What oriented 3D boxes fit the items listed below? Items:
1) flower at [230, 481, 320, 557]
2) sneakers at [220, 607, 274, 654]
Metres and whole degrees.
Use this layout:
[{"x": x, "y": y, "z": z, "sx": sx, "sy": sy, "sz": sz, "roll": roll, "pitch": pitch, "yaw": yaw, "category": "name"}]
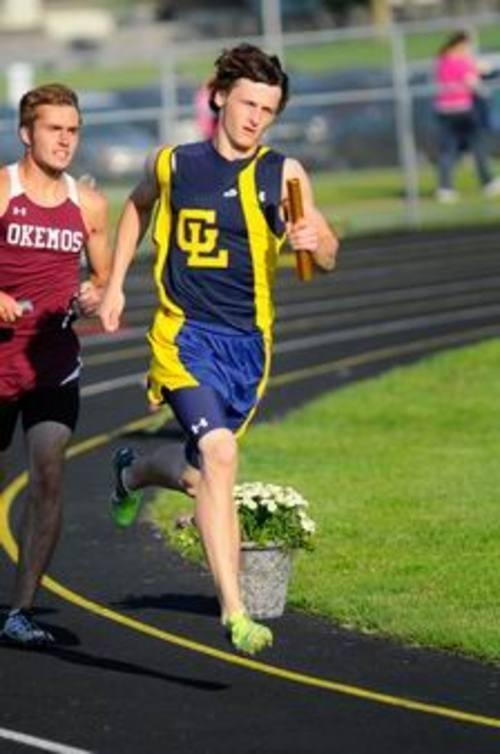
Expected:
[{"x": 0.064, "y": 0.518, "z": 3.202, "sx": 0.290, "sy": 0.170, "sz": 0.265, "roll": 22, "pitch": 6, "yaw": -19, "category": "flower"}, {"x": -0.012, "y": 0.743, "z": 2.314, "sx": 0.077, "sy": 0.130, "sz": 0.179, "roll": -6, "pitch": 5, "yaw": -26, "category": "sneakers"}]
